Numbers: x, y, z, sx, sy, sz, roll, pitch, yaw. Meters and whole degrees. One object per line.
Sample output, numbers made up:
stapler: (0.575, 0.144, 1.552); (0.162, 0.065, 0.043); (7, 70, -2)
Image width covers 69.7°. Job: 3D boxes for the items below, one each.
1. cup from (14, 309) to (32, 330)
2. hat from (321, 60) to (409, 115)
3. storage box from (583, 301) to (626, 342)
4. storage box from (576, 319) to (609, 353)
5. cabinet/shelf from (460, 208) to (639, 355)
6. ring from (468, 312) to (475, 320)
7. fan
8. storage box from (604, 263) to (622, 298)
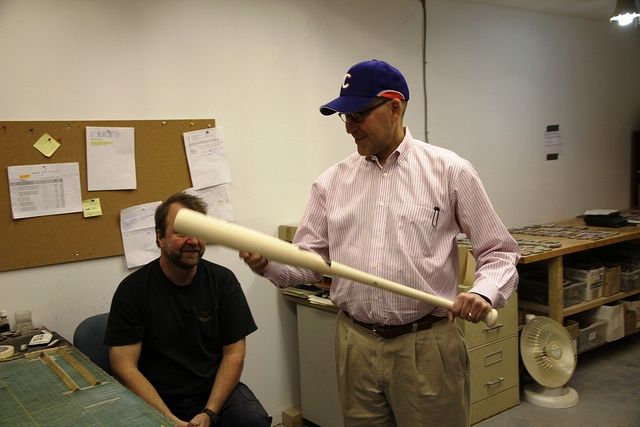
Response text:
cup: (-1.740, 0.626, 2.716); (0.101, 0.119, 0.103); (-1, -5, 0)
hat: (0.207, -0.605, 2.178); (0.422, 0.241, 0.285); (-9, 17, -13)
storage box: (2.557, 0.913, 4.093); (0.346, 0.340, 0.327); (-6, 6, -35)
storage box: (2.311, 1.050, 3.922); (0.277, 0.179, 0.275); (-8, 5, -32)
cabinet/shelf: (2.025, 0.229, 4.080); (1.613, 0.824, 0.833); (-10, 14, -34)
ring: (0.632, 0.435, 1.934); (0.027, 0.037, 0.009); (-7, 7, 3)
fan: (1.781, 1.133, 3.605); (0.395, 0.685, 0.302); (-5, 7, 19)
storage box: (2.544, 0.583, 4.102); (0.259, 0.263, 0.145); (-5, 5, -35)
